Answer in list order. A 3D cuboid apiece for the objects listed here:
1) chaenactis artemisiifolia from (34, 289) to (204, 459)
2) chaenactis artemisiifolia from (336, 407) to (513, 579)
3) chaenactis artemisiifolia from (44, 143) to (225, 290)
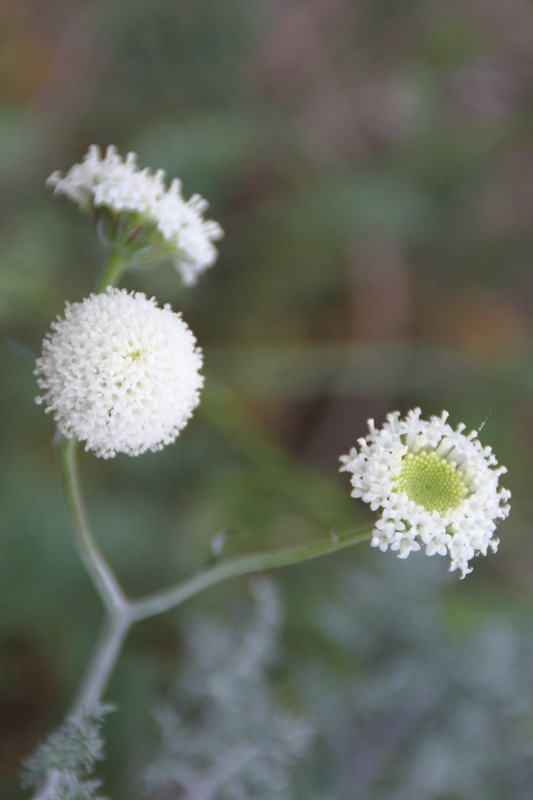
[{"bbox_3d":[-0.108,-0.014,0.544,0.119,0.089,0.105,17,83,-15],"label":"chaenactis artemisiifolia"},{"bbox_3d":[0.109,0.058,0.508,0.101,0.082,0.100,-18,48,2],"label":"chaenactis artemisiifolia"},{"bbox_3d":[-0.101,-0.125,0.534,0.123,0.125,0.063,28,89,47],"label":"chaenactis artemisiifolia"}]
